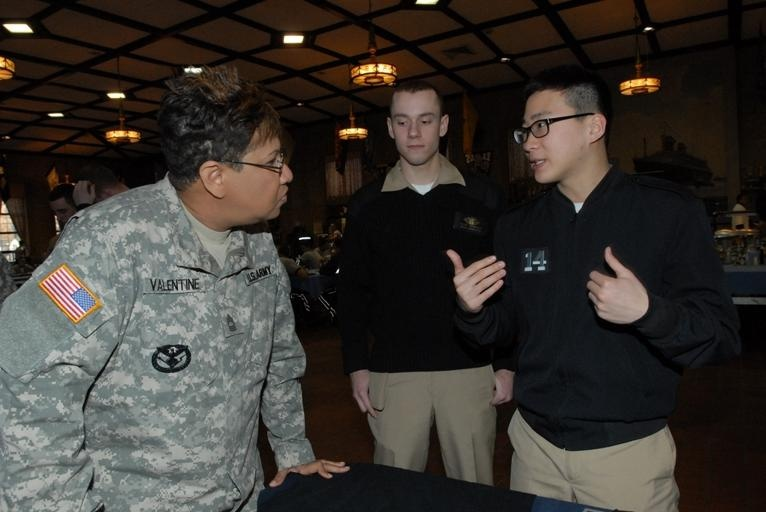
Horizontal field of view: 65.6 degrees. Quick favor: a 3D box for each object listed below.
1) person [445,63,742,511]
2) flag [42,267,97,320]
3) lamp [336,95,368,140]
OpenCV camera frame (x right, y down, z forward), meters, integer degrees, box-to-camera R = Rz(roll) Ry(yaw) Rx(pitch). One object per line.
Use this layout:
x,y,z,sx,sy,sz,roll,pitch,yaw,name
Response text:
0.842,0.123,2.468,1.092,1.863,0.520,-5,3,6,person
-1.080,0.130,2.088,0.140,0.195,0.052,-43,5,-6,flag
-0.543,-2.400,10.567,0.453,0.460,0.465,10,23,34,lamp
